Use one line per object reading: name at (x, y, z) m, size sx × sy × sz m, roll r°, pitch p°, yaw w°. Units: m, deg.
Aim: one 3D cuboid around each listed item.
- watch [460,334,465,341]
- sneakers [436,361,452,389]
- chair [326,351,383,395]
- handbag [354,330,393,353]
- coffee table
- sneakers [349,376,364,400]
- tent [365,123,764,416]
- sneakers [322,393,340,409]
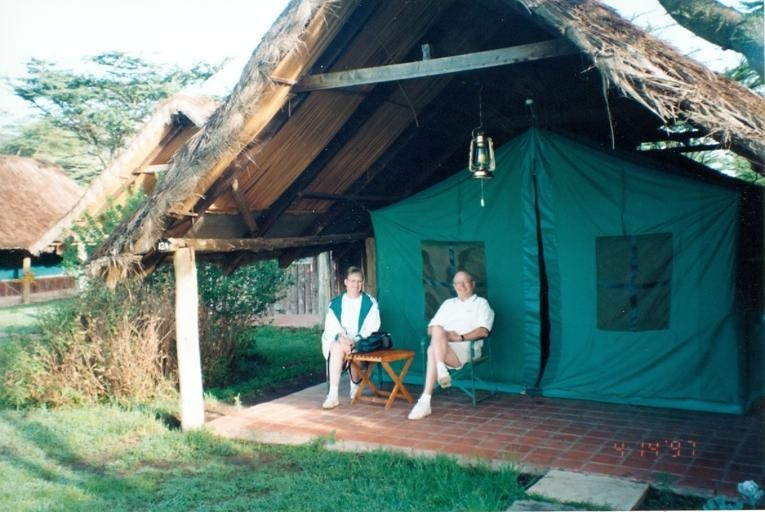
watch at (1.068, 1.083, 9.444) m, size 0.071 × 0.068 × 0.053 m, roll 3°, pitch -1°, yaw 7°
sneakers at (0.793, 1.543, 9.259) m, size 0.127 × 0.351 × 0.158 m, roll -2°, pitch 25°, yaw 10°
chair at (-0.294, 1.528, 9.810) m, size 0.649 × 0.704 × 0.822 m, roll -6°, pitch -8°, yaw 32°
handbag at (-0.130, 1.142, 9.671) m, size 0.375 × 0.160 × 0.265 m, roll -6°, pitch 1°, yaw -30°
coffee table at (-0.007, 1.686, 9.830) m, size 0.653 × 0.659 × 0.779 m, roll -2°, pitch -2°, yaw -43°
sneakers at (-0.381, 1.837, 9.920) m, size 0.103 × 0.308 × 0.130 m, roll 3°, pitch 11°, yaw 4°
tent at (3.226, 0.250, 10.934) m, size 6.058 × 4.138 × 3.343 m, roll 0°, pitch -1°, yaw 28°
sneakers at (-0.697, 1.981, 9.783) m, size 0.287 × 0.189 × 0.241 m, roll 3°, pitch -1°, yaw -24°
